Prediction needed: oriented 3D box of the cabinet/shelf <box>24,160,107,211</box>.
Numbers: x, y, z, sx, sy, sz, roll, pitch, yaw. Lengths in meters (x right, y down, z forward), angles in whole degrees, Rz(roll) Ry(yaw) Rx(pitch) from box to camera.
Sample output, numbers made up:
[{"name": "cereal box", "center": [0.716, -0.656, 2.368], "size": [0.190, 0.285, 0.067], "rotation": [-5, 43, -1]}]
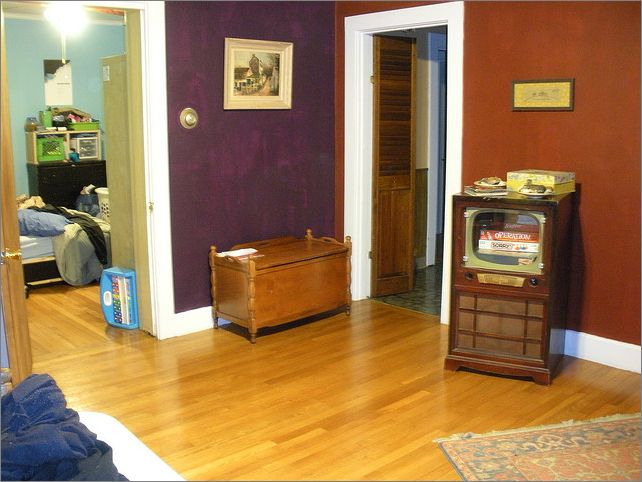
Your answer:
[{"name": "cabinet/shelf", "center": [-3.724, -0.791, 7.676], "size": [1.099, 0.810, 0.401], "rotation": [0, -1, -31]}]

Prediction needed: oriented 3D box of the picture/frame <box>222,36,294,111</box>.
[{"name": "picture/frame", "center": [-0.607, -1.623, 5.111], "size": [0.071, 0.616, 0.867], "rotation": [22, 28, 35]}]

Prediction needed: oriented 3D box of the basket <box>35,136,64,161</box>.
[{"name": "basket", "center": [-4.017, -1.376, 7.843], "size": [0.262, 0.338, 0.423], "rotation": [8, 11, 40]}]

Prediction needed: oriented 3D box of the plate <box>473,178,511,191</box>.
[{"name": "plate", "center": [1.336, -0.454, 4.208], "size": [0.206, 0.049, 0.184], "rotation": [-6, 12, -20]}]

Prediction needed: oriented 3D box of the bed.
[{"name": "bed", "center": [-3.044, 0.052, 6.233], "size": [1.085, 0.264, 1.027], "rotation": [-8, 39, -31]}]
